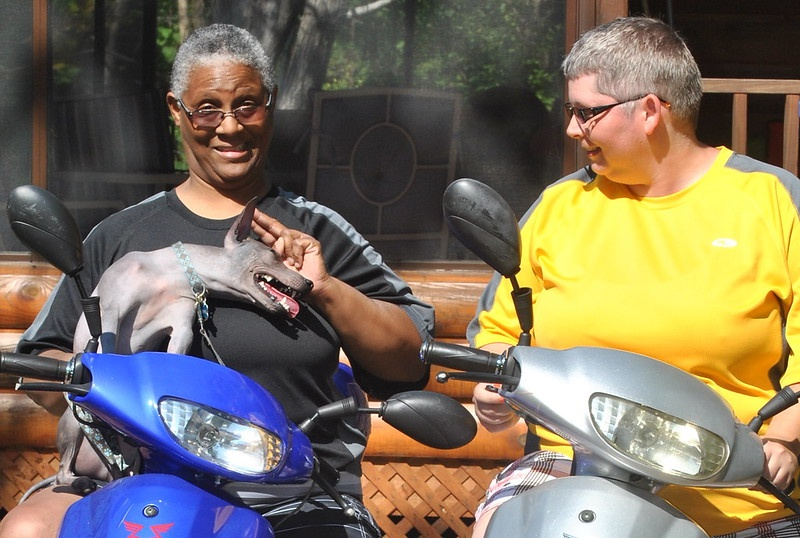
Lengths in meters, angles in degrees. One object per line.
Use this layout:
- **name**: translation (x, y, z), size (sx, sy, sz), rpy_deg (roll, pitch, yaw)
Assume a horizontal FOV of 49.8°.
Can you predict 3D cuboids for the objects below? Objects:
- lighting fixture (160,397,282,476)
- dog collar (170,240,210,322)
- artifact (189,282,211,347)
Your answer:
- **lighting fixture**: translation (-0.568, 0.532, 2.744), size (0.413, 0.184, 0.106), rpy_deg (17, -13, -11)
- **dog collar**: translation (-0.807, 0.051, 3.197), size (0.092, 0.368, 0.114), rpy_deg (-12, 3, -38)
- **artifact**: translation (-0.747, 0.156, 3.235), size (0.040, 0.066, 0.270), rpy_deg (-29, -19, -17)
